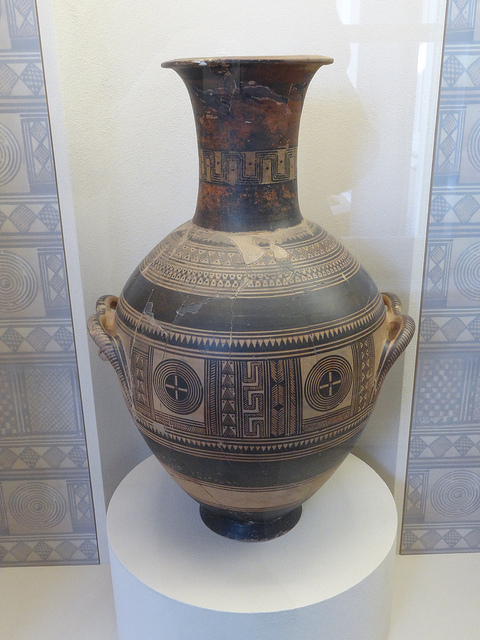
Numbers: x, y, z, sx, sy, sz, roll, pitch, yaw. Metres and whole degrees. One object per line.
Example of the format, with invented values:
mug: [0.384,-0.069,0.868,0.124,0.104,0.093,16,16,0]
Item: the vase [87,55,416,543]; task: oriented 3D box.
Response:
vase: [0.031,-0.035,1.172,0.572,0.765,0.304,-5,14,-10]
